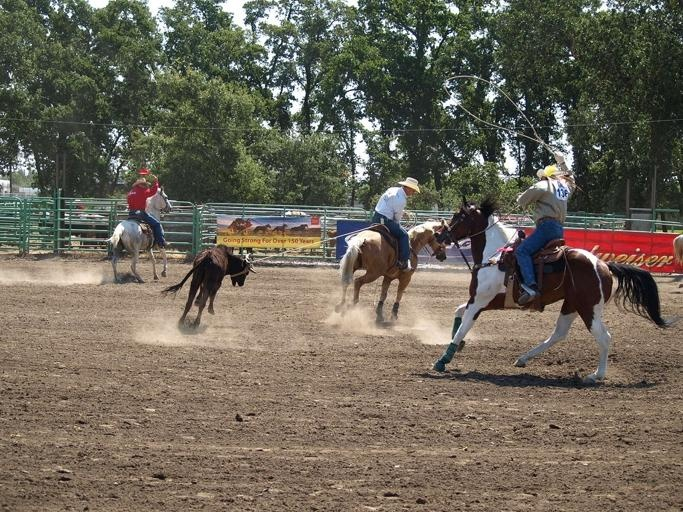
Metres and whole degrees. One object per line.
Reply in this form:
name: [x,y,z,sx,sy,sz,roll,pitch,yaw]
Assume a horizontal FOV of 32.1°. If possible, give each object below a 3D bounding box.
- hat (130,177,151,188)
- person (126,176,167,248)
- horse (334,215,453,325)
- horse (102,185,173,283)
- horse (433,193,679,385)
hat: [-7.981,-2.882,46.325,0.705,0.312,0.781,-3,0,-32]
person: [-7.740,-1.839,46.533,1.000,2.843,1.466,2,1,35]
horse: [1.847,0.437,41.651,1.420,3.480,4.102,1,1,-11]
horse: [-8.079,-0.774,46.350,1.486,3.475,3.568,1,2,-9]
horse: [6.008,1.879,39.808,8.078,6.700,5.628,-6,13,-26]
